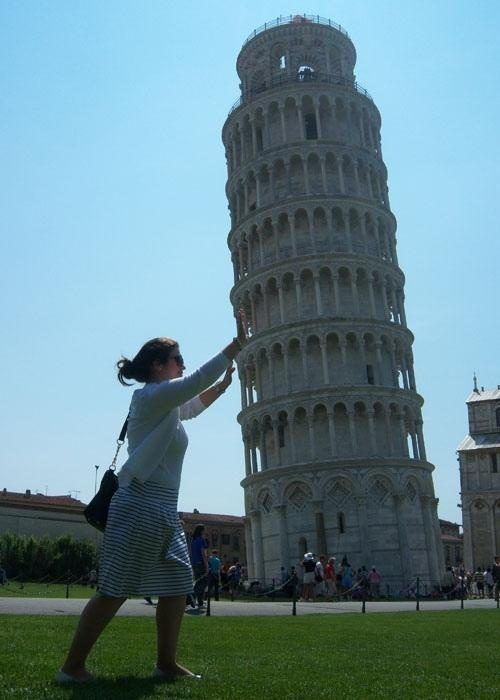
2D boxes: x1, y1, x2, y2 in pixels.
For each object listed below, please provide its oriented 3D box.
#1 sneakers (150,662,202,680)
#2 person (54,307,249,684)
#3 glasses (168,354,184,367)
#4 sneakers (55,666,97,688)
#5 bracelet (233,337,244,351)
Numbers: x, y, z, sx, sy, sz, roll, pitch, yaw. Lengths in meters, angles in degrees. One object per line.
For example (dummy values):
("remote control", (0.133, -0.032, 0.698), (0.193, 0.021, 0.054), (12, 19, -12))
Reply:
("sneakers", (-0.440, 1.867, 4.511), (0.309, 0.115, 0.096), (-3, -39, 2))
("person", (-0.571, 0.858, 4.626), (1.026, 2.045, 0.933), (1, -18, -8))
("glasses", (-0.456, 0.060, 4.712), (0.092, 0.088, 0.031), (-1, 5, -27))
("sneakers", (-0.957, 1.787, 4.260), (0.230, 0.077, 0.077), (1, -32, -1))
("bracelet", (-0.076, -0.038, 4.649), (0.071, 0.075, 0.088), (3, 25, 6))
